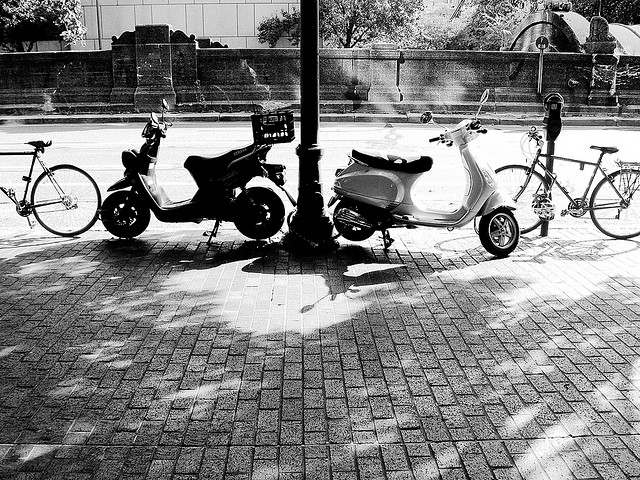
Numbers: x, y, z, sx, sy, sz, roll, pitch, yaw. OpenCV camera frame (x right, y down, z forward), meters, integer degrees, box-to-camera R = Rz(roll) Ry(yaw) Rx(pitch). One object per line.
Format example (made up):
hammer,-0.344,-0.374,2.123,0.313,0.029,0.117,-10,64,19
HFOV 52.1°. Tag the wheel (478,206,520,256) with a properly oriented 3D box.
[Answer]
wheel,2.148,-0.119,7.899,0.549,0.662,0.210,0,-8,-8

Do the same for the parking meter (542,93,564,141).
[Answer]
parking meter,3.122,-1.646,8.823,0.235,0.685,0.540,5,20,18

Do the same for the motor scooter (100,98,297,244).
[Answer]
motor scooter,-1.668,-0.865,8.482,2.302,1.771,0.869,-2,10,-2

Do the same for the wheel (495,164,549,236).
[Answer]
wheel,2.774,-0.689,9.004,0.740,0.982,0.844,6,18,18

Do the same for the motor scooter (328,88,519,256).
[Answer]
motor scooter,1.231,-0.644,7.963,2.249,1.552,0.563,1,18,5

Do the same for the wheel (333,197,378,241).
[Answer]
wheel,0.443,-0.290,8.214,0.559,0.503,0.572,1,17,0

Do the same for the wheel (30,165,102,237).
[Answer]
wheel,-3.477,-0.494,8.910,0.828,1.054,0.984,-1,21,-13

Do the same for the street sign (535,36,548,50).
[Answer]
street sign,7.785,-6.987,23.196,0.446,0.471,0.106,2,4,-12
